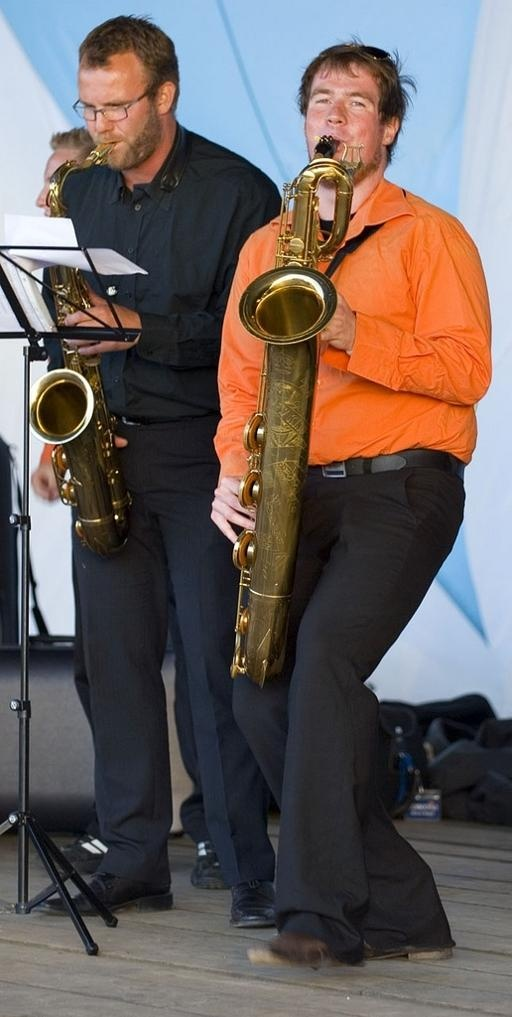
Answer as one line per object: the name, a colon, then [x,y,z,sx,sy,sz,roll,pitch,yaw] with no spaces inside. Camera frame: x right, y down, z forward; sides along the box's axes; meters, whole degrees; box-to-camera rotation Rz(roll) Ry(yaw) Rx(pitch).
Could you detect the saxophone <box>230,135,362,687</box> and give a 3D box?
saxophone: [0.032,-0.163,1.888,0.161,0.945,0.466,8,27,0]
